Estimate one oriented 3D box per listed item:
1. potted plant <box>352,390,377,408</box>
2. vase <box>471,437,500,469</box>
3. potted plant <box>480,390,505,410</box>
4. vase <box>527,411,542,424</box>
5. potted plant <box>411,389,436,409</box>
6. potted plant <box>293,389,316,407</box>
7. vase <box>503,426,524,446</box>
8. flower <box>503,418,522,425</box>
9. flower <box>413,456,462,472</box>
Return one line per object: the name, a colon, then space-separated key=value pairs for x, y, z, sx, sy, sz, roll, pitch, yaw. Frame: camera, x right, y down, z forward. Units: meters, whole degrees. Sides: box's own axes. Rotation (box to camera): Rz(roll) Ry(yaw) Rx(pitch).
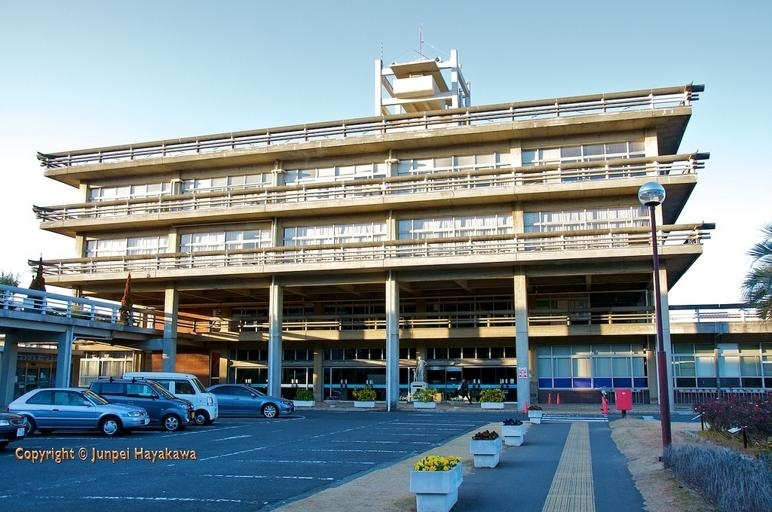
potted plant: x=-1.355 y=9.395 z=51.432 sx=1.552 sy=0.805 sz=1.307 roll=-2 pitch=-5 yaw=9
vase: x=3.574 y=6.817 z=27.073 sx=1.098 sy=0.781 sz=1.394 roll=-4 pitch=-12 yaw=15
potted plant: x=6.783 y=9.015 z=49.190 sx=1.430 sy=1.225 sz=1.682 roll=-2 pitch=-14 yaw=5
vase: x=7.474 y=7.969 z=38.722 sx=0.865 sy=0.568 sz=0.707 roll=-1 pitch=-11 yaw=4
potted plant: x=2.529 y=9.158 z=50.211 sx=1.459 sy=0.870 sz=1.192 roll=1 pitch=-11 yaw=-5
potted plant: x=-5.505 y=9.563 z=52.496 sx=1.480 sy=0.903 sz=1.252 roll=-3 pitch=-7 yaw=14
vase: x=5.069 y=7.067 z=30.833 sx=1.219 sy=0.629 sz=0.781 roll=-1 pitch=-15 yaw=6
flower: x=5.108 y=6.605 z=31.049 sx=0.677 sy=0.243 sz=0.857 roll=-4 pitch=-13 yaw=12
flower: x=1.431 y=6.086 z=22.791 sx=0.938 sy=0.257 sz=0.812 roll=-3 pitch=-8 yaw=17
